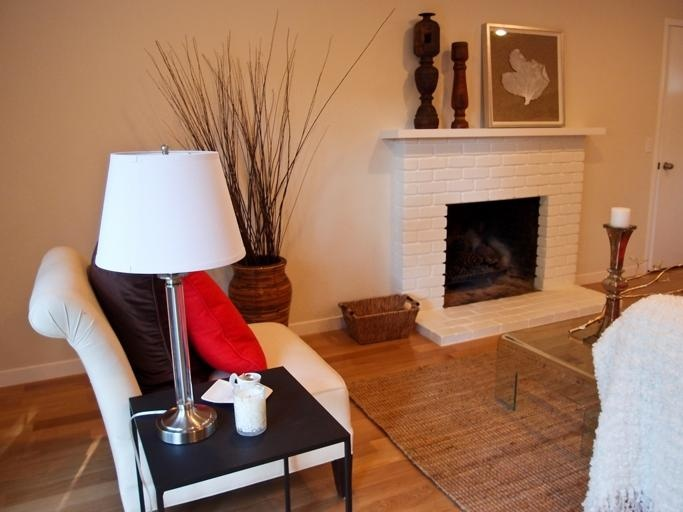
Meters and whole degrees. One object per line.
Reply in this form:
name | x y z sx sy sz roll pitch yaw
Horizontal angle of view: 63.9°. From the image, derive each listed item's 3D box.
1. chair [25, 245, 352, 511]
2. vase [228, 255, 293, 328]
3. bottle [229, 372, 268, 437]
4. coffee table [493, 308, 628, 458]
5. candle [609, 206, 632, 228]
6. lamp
chair | -0.688 0.446 2.559 1.379 1.333 0.978 -8 24 -22
vase | -0.460 0.207 3.528 0.388 0.448 0.348 3 14 8
bottle | -0.310 0.512 1.863 0.120 0.215 0.201 -1 6 -9
coffee table | 1.059 0.604 2.783 0.535 0.289 0.543 -6 18 -10
candle | 1.471 -0.205 2.946 0.122 0.137 0.126 7 11 40
lamp | -0.536 0.134 1.809 0.455 0.970 0.267 -9 17 -13
